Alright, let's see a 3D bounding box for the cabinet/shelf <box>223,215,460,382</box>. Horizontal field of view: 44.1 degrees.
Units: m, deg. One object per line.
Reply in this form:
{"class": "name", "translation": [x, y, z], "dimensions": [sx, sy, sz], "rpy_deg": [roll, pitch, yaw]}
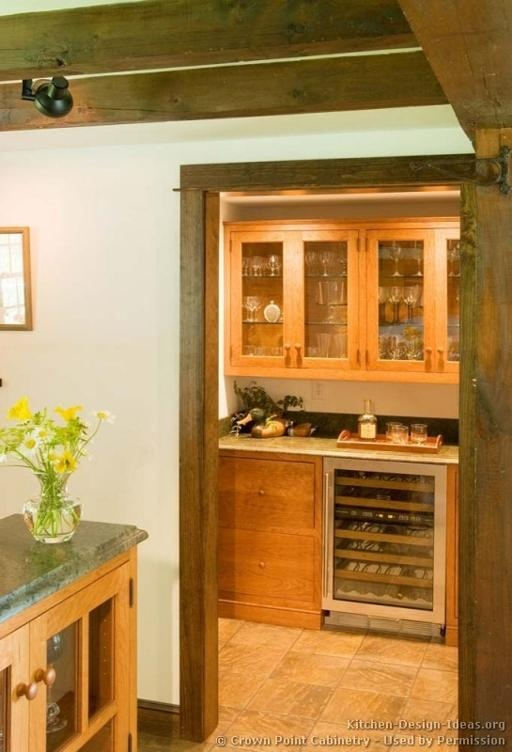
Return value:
{"class": "cabinet/shelf", "translation": [0.578, -0.501, 3.920], "dimensions": [1.116, 0.653, 0.194], "rpy_deg": [1, 2, 14]}

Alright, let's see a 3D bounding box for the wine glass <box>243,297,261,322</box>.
{"class": "wine glass", "translation": [-0.032, -0.430, 4.092], "dimensions": [0.151, 0.175, 0.146], "rpy_deg": [0, -3, -6]}

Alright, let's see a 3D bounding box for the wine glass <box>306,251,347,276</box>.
{"class": "wine glass", "translation": [0.445, -0.708, 3.958], "dimensions": [0.278, 0.178, 0.153], "rpy_deg": [2, 2, 24]}

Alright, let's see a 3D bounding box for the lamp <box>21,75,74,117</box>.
{"class": "lamp", "translation": [-0.580, -0.798, 1.793], "dimensions": [0.157, 0.108, 0.087], "rpy_deg": [1, -14, -16]}

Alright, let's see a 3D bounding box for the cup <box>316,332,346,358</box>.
{"class": "cup", "translation": [0.476, -0.193, 3.989], "dimensions": [0.170, 0.120, 0.141], "rpy_deg": [0, -1, 23]}

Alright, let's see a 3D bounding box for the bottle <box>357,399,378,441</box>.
{"class": "bottle", "translation": [0.692, 0.269, 3.952], "dimensions": [0.094, 0.241, 0.174], "rpy_deg": [0, 1, 8]}

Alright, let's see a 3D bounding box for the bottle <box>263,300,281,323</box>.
{"class": "bottle", "translation": [0.097, -0.411, 4.045], "dimensions": [0.111, 0.137, 0.046], "rpy_deg": [-4, 3, 22]}

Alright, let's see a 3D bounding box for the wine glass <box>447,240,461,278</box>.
{"class": "wine glass", "translation": [1.171, -0.698, 3.763], "dimensions": [0.070, 0.234, 0.037], "rpy_deg": [0, 1, 0]}

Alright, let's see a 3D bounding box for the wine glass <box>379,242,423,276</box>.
{"class": "wine glass", "translation": [0.893, -0.718, 3.839], "dimensions": [0.216, 0.189, 0.112], "rpy_deg": [1, 3, 21]}

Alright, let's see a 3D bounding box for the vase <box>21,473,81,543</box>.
{"class": "vase", "translation": [-0.546, 0.356, 1.709], "dimensions": [0.176, 0.175, 0.175], "rpy_deg": [-2, -4, 18]}

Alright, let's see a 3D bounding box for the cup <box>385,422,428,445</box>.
{"class": "cup", "translation": [0.917, 0.352, 3.858], "dimensions": [0.231, 0.101, 0.118], "rpy_deg": [0, 3, 14]}

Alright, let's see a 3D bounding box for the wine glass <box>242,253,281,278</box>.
{"class": "wine glass", "translation": [0.043, -0.709, 4.042], "dimensions": [0.220, 0.137, 0.132], "rpy_deg": [4, 8, 13]}

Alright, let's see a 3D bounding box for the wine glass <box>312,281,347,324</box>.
{"class": "wine glass", "translation": [0.467, -0.461, 3.991], "dimensions": [0.254, 0.264, 0.246], "rpy_deg": [0, -3, 0]}

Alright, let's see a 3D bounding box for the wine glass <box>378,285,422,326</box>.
{"class": "wine glass", "translation": [0.890, -0.436, 3.860], "dimensions": [0.263, 0.228, 0.087], "rpy_deg": [1, 1, 20]}
